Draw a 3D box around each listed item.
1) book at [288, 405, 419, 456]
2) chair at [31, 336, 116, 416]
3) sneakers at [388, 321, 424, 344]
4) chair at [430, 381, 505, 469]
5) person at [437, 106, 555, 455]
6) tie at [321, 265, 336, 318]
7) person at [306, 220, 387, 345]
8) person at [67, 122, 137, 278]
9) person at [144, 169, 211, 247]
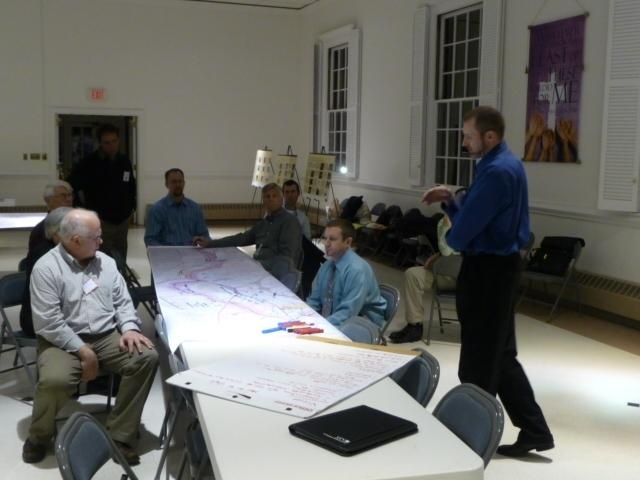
[{"bbox_3d":[0.135,0.716,1.781,0.473,0.043,0.238,-5,12,-29],"label":"book"},{"bbox_3d":[-1.948,1.104,3.903,0.459,0.511,0.394,2,4,-23],"label":"chair"},{"bbox_3d":[0.964,1.028,5.265,0.402,0.217,0.171,-1,4,-17],"label":"sneakers"},{"bbox_3d":[0.635,0.728,1.952,0.172,0.202,0.367,-3,11,-20],"label":"chair"},{"bbox_3d":[1.098,0.288,3.082,0.727,2.287,0.658,0,3,16],"label":"person"},{"bbox_3d":[0.053,0.442,3.772,0.136,0.661,0.056,12,41,13],"label":"tie"},{"bbox_3d":[0.156,0.360,3.782,0.671,0.916,0.717,1,3,8],"label":"person"},{"bbox_3d":[-3.174,-0.480,6.997,0.907,2.472,0.566,-12,34,-37],"label":"person"},{"bbox_3d":[-1.779,-0.363,5.851,0.785,1.127,0.666,-3,-1,-31],"label":"person"}]
